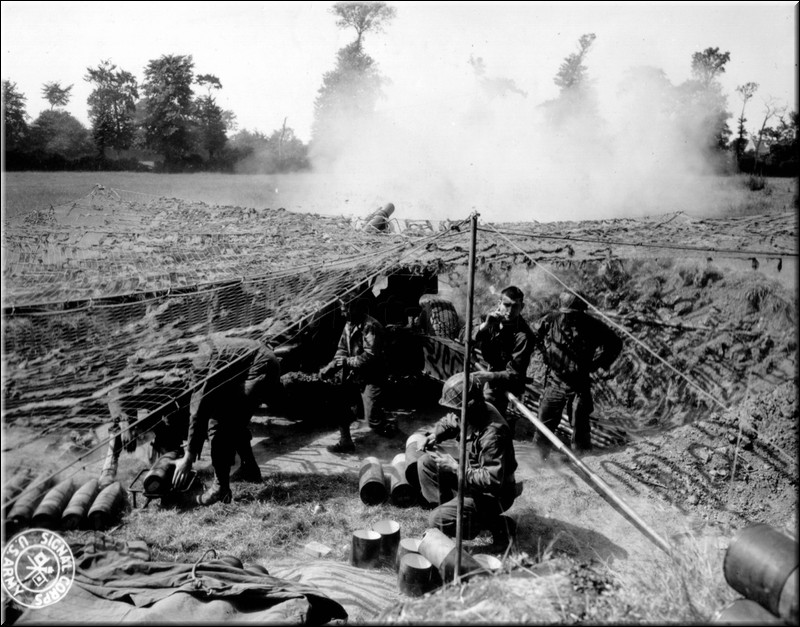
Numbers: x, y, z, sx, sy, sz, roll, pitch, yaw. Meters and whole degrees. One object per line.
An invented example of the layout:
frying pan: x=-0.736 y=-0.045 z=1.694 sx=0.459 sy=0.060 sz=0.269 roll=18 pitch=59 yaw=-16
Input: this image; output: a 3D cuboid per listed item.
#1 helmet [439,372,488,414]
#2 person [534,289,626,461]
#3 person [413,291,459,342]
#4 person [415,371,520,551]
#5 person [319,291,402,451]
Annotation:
helmet: x=0.668 y=0.796 z=6.367 sx=0.524 sy=0.308 sz=0.400 roll=-32 pitch=25 yaw=-31
person: x=2.387 y=0.806 z=8.225 sx=1.037 sy=2.250 sz=0.482 roll=2 pitch=11 yaw=14
person: x=0.727 y=0.045 z=10.890 sx=0.716 sy=0.792 sz=0.541 roll=-15 pitch=26 yaw=-24
person: x=0.790 y=1.698 z=6.725 sx=0.951 sy=2.050 sz=1.148 roll=-3 pitch=25 yaw=-8
person: x=-0.671 y=0.985 z=9.486 sx=1.428 sy=2.975 sz=1.041 roll=-17 pitch=28 yaw=-35
